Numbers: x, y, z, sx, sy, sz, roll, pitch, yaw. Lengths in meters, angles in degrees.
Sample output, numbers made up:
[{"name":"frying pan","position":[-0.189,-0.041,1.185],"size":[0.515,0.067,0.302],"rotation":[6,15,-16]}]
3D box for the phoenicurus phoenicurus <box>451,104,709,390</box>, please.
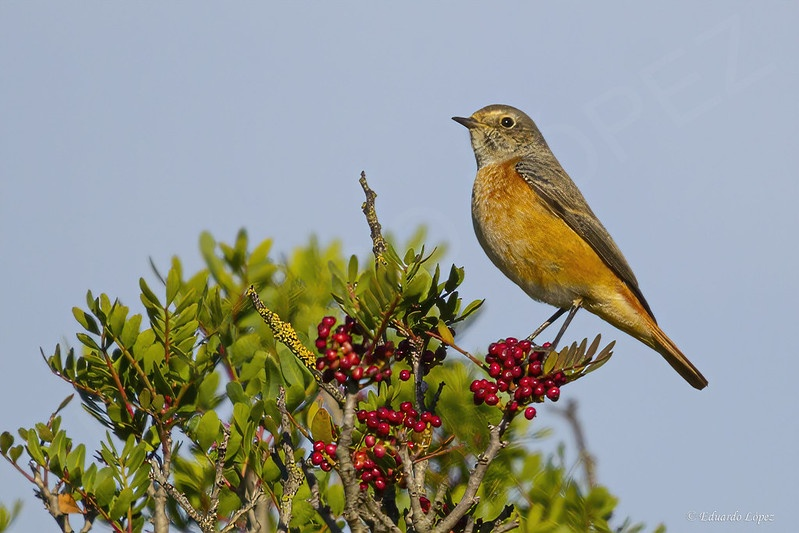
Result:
[{"name":"phoenicurus phoenicurus","position":[1.285,-0.361,10.228],"size":[1.612,2.329,0.549],"rotation":[14,-39,-35]}]
